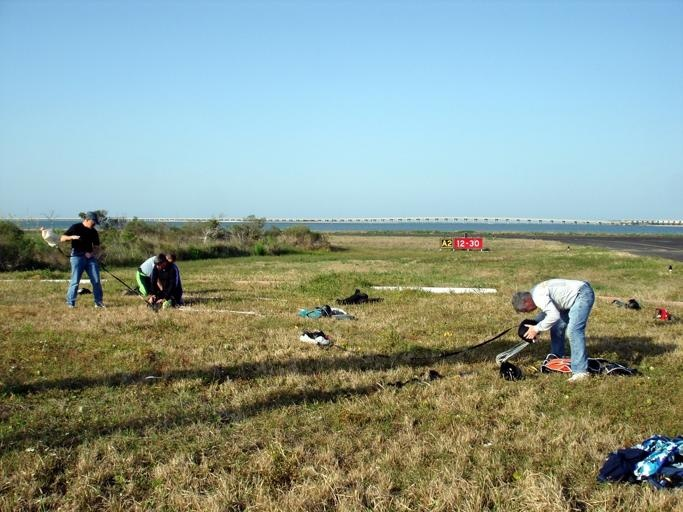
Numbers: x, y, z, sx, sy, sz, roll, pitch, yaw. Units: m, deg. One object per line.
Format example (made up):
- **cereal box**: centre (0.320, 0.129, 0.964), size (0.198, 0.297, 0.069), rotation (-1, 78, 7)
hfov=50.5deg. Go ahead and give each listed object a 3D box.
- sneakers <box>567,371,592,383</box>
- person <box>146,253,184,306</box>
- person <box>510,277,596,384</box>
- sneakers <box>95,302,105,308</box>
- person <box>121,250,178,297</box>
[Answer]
- **sneakers**: centre (4.073, 2.090, 12.444), size (0.423, 0.192, 0.160), rotation (-1, -6, -8)
- **person**: centre (-4.321, 0.574, 17.927), size (0.858, 1.307, 0.721), rotation (-5, 10, -33)
- **person**: centre (3.721, 1.245, 12.814), size (1.260, 1.669, 1.087), rotation (1, 8, 0)
- **sneakers**: centre (-5.873, 1.208, 17.548), size (0.289, 0.122, 0.102), rotation (5, 18, 1)
- **person**: centre (-4.917, 0.463, 18.746), size (0.908, 1.044, 0.762), rotation (4, 13, -34)
